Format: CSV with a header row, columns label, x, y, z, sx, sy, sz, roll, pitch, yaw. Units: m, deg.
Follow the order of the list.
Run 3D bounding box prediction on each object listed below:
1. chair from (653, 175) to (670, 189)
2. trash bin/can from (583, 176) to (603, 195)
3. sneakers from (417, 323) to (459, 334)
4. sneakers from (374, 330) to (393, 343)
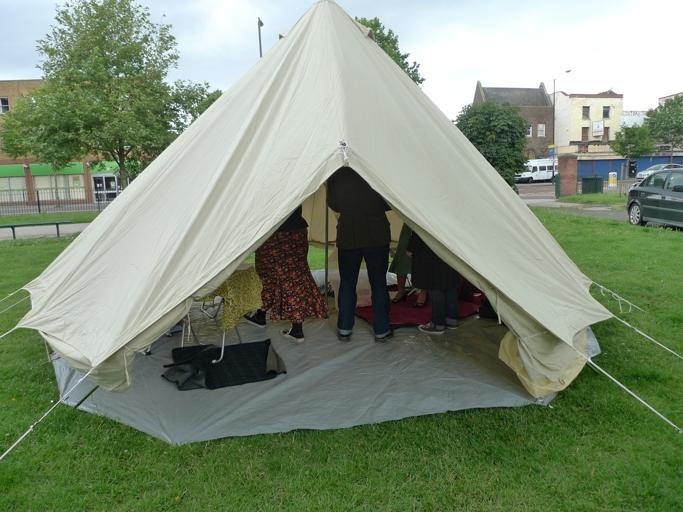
label,x,y,z,sx,sy,sz,roll,pitch,yaw
chair,8.029,-1.906,13.750,0.300,0.505,0.552,6,6,18
trash bin/can,12.359,-3.535,26.821,0.925,0.894,0.943,0,0,14
sneakers,1.118,0.834,6.300,0.450,0.182,0.166,1,4,8
sneakers,0.477,0.886,6.110,0.087,0.094,0.237,8,16,43
